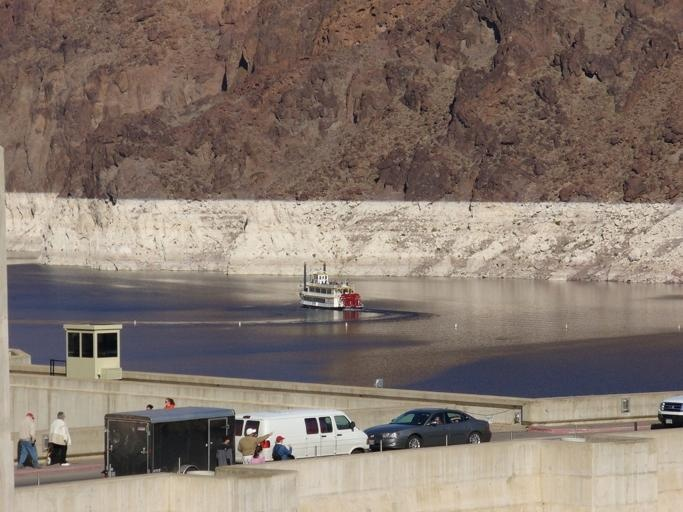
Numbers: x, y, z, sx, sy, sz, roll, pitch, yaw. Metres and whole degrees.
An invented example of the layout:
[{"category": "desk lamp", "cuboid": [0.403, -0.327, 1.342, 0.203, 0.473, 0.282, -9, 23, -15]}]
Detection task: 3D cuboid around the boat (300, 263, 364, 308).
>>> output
[{"category": "boat", "cuboid": [-1.939, 5.430, 365.630, 4.336, 5.826, 11.900, -3, 9, -29]}]
